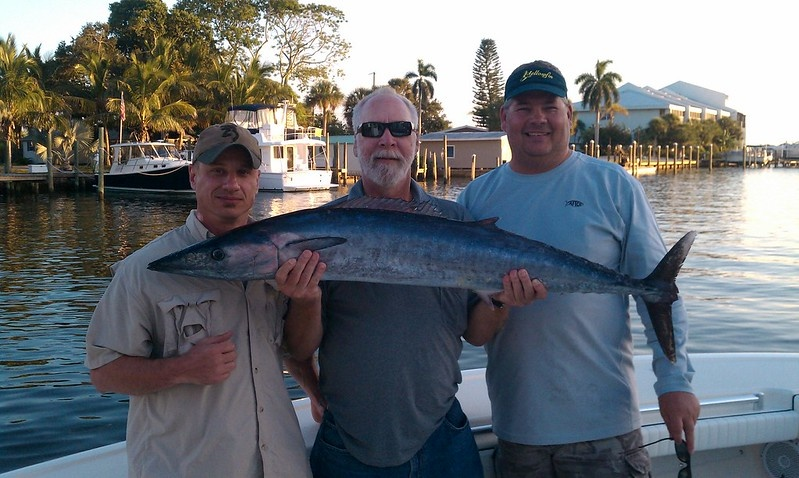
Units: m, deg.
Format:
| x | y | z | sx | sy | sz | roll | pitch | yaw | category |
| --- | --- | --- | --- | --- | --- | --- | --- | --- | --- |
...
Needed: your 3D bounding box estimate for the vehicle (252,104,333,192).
| x | y | z | sx | sy | sz | roll | pitch | yaw | category |
| --- | --- | --- | --- | --- | --- | --- | --- | --- | --- |
| -7.451 | -6.121 | 45.581 | 3.647 | 5.369 | 11.332 | -2 | 11 | -25 | vehicle |
